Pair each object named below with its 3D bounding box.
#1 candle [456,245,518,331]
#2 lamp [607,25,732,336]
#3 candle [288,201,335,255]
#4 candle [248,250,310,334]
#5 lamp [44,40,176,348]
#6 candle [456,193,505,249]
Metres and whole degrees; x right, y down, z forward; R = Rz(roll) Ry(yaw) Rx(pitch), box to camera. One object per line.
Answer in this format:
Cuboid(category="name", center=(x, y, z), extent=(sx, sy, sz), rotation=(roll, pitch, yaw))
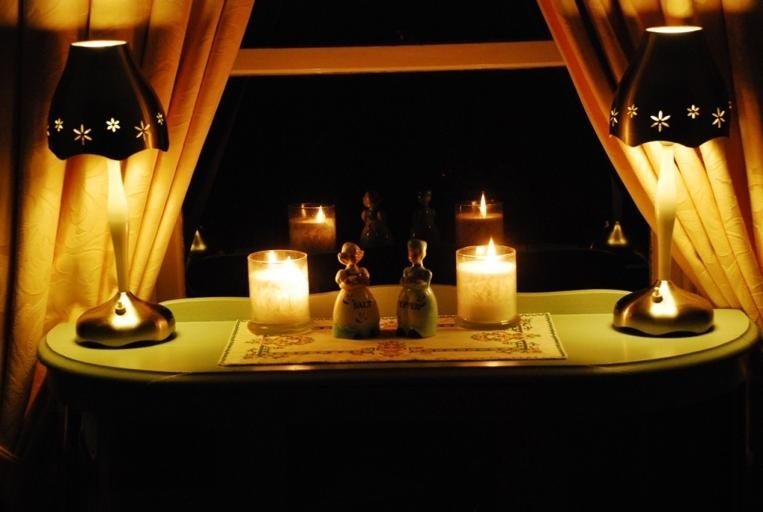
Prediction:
Cuboid(category="candle", center=(0.245, 0.069, 1.522), extent=(0.167, 0.202, 0.179), rotation=(0, 4, 12))
Cuboid(category="lamp", center=(0.636, -0.175, 1.494), extent=(0.245, 0.700, 0.195), rotation=(4, 8, 27))
Cuboid(category="candle", center=(-0.198, -0.080, 1.893), extent=(0.127, 0.135, 0.120), rotation=(-9, 17, -28))
Cuboid(category="candle", center=(-0.225, 0.073, 1.577), extent=(0.176, 0.199, 0.177), rotation=(-1, 10, 2))
Cuboid(category="lamp", center=(-0.624, -0.148, 1.511), extent=(0.241, 0.698, 0.192), rotation=(5, 9, 36))
Cuboid(category="candle", center=(0.262, -0.097, 1.841), extent=(0.142, 0.167, 0.145), rotation=(0, 3, 2))
